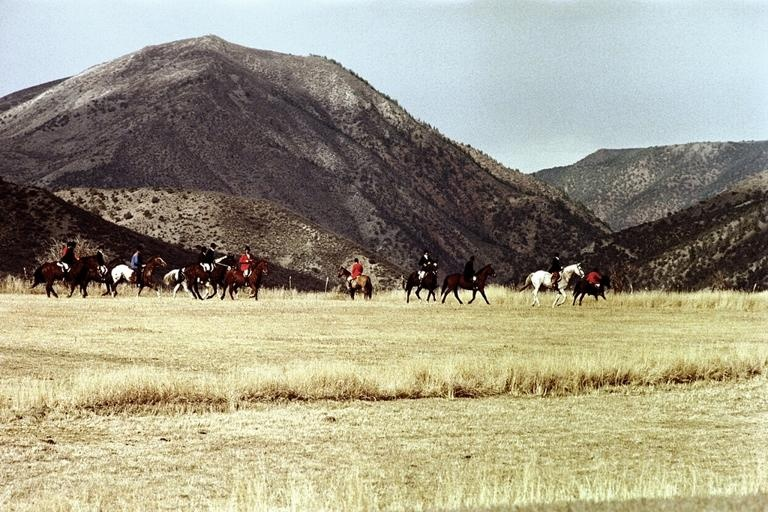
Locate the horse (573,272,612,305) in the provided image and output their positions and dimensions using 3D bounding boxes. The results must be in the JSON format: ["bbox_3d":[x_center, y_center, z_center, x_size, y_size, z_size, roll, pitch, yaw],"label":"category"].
[{"bbox_3d":[14.961,2.250,94.207,3.480,2.608,1.115,-1,12,-32],"label":"horse"}]

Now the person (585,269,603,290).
[{"bbox_3d":[15.076,1.638,93.968,0.871,1.322,1.235,-3,-6,43],"label":"person"}]

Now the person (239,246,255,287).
[{"bbox_3d":[-9.759,0.725,94.444,0.781,2.533,1.026,1,-4,-4],"label":"person"}]

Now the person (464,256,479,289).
[{"bbox_3d":[6.820,1.325,101.743,1.284,2.942,1.200,-10,32,-4],"label":"person"}]
